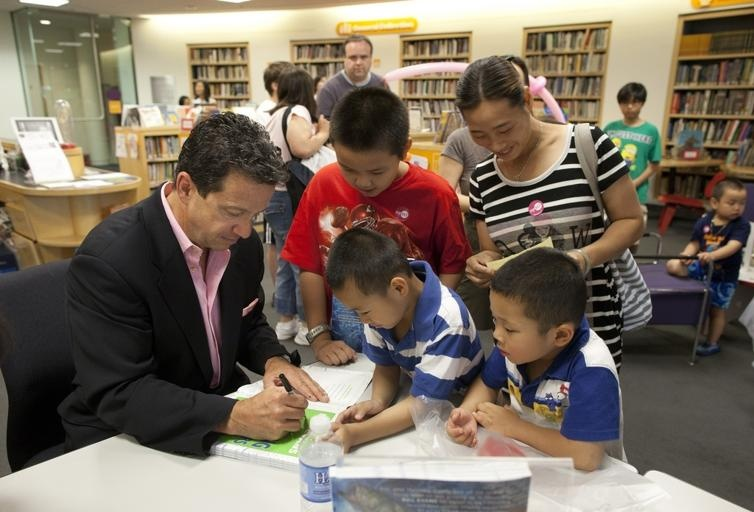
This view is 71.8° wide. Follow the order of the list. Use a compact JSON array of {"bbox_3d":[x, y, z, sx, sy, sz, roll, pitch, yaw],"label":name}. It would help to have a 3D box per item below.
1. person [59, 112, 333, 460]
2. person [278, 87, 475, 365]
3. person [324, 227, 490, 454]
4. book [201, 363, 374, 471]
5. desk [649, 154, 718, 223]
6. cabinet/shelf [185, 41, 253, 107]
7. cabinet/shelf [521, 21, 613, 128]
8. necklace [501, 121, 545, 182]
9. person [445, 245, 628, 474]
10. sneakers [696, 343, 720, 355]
[{"bbox_3d":[-0.774,0.304,2.180,0.933,1.702,0.912,5,13,-7],"label":"person"},{"bbox_3d":[-0.042,0.035,2.351,0.887,1.490,0.859,4,26,9],"label":"person"},{"bbox_3d":[0.068,0.284,2.021,0.746,0.781,0.515,-19,18,-34],"label":"person"},{"bbox_3d":[-0.276,0.581,1.939,0.262,0.062,0.455,7,19,20],"label":"book"},{"bbox_3d":[4.323,-0.793,7.153,0.694,0.977,0.595,6,19,23],"label":"desk"},{"bbox_3d":[-3.175,-3.581,10.824,1.311,1.478,0.500,0,6,2],"label":"cabinet/shelf"},{"bbox_3d":[2.896,-2.737,8.073,1.170,0.302,2.060,7,58,19],"label":"cabinet/shelf"},{"bbox_3d":[0.603,-0.436,2.130,0.148,0.230,0.139,-43,24,-1],"label":"necklace"},{"bbox_3d":[0.633,0.433,1.961,0.579,0.909,0.553,7,20,34],"label":"person"},{"bbox_3d":[2.639,0.731,4.135,0.217,0.093,0.079,-1,9,-8],"label":"sneakers"}]
